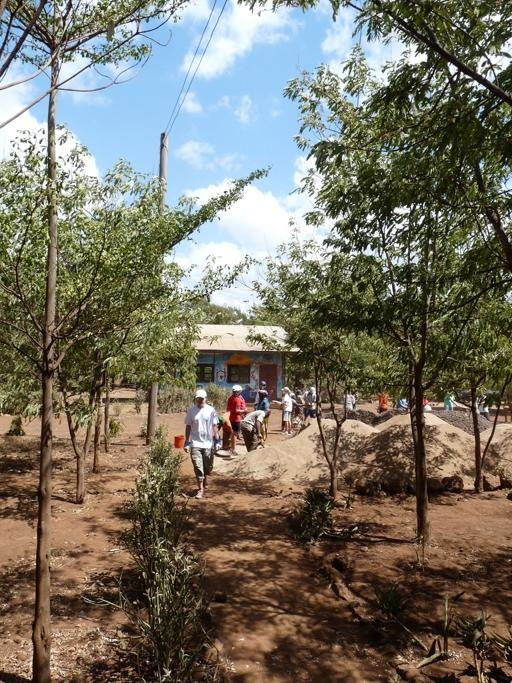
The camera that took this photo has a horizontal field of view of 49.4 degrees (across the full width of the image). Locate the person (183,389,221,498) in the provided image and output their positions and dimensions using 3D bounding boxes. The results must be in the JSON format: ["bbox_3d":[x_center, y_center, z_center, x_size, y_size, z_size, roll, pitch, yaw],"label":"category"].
[{"bbox_3d":[-0.833,1.568,8.319,0.451,1.699,0.891,2,-2,11],"label":"person"}]

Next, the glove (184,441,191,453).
[{"bbox_3d":[-1.008,1.542,8.196,0.060,0.137,0.090,3,-3,-13],"label":"glove"}]
